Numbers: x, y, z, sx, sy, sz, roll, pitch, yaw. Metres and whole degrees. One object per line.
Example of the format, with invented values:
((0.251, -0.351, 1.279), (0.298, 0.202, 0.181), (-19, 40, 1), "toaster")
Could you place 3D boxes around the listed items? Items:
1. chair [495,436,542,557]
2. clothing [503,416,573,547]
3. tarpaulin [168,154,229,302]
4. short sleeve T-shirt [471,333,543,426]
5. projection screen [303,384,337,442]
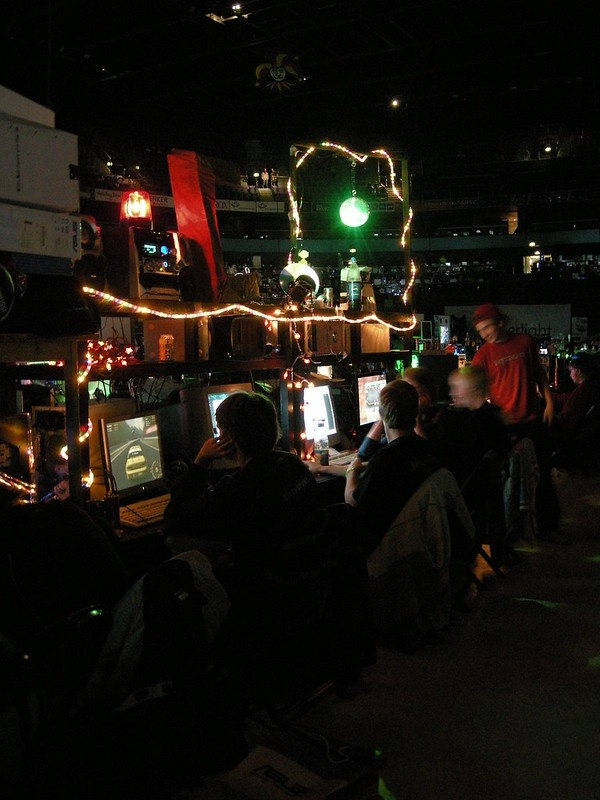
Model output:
((1.391, 0.535, 4.086), (0.203, 0.623, 0.167), (-2, 6, -28), "chair")
((1.503, 0.573, 4.379), (0.213, 0.799, 0.242), (-1, 5, 27), "clothing")
((-0.601, -1.072, 3.986), (0.283, 1.045, 0.129), (2, -21, -35), "tarpaulin")
((1.340, -0.121, 4.234), (0.451, 0.537, 0.291), (-19, 1, 22), "short sleeve T-shirt")
((0.116, 0.077, 4.190), (0.065, 0.287, 0.295), (-2, 0, 35), "projection screen")
